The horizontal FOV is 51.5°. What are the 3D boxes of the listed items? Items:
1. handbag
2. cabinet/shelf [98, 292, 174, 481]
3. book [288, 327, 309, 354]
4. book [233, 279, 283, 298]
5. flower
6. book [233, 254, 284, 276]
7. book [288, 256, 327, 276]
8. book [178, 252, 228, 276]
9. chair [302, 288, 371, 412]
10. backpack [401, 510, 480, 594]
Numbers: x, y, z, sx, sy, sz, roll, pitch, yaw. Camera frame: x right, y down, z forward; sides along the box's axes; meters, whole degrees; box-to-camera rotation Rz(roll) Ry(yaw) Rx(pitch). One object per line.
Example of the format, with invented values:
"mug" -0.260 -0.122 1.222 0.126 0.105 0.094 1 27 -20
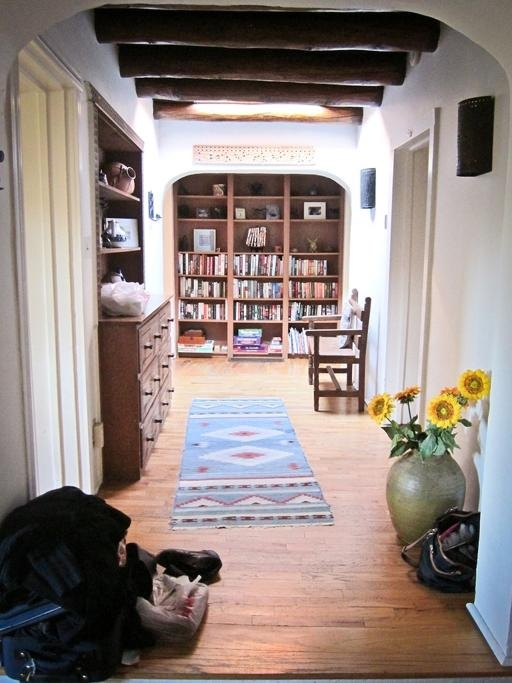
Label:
"handbag" 0.717 0.773 2.114 0.299 0.289 0.221 16 20 31
"cabinet/shelf" -0.723 0.288 3.138 0.200 0.612 1.053 -2 14 -4
"book" 0.505 0.021 6.541 0.289 0.376 0.288 0 8 1
"book" 0.018 -0.644 6.616 0.601 0.232 0.084 0 7 -4
"flower" 0.756 0.310 2.310 0.461 0.331 0.377 5 12 18
"book" 0.020 -0.940 6.538 0.598 0.261 0.081 0 7 -4
"book" 0.651 -0.937 6.633 0.505 0.248 0.194 0 7 -2
"book" -0.666 -0.945 6.543 0.586 0.269 0.128 -1 7 -7
"chair" 0.771 0.099 5.102 0.437 0.705 1.216 0 9 3
"backpack" 0.705 0.831 2.014 0.118 0.210 0.157 5 -21 -17
